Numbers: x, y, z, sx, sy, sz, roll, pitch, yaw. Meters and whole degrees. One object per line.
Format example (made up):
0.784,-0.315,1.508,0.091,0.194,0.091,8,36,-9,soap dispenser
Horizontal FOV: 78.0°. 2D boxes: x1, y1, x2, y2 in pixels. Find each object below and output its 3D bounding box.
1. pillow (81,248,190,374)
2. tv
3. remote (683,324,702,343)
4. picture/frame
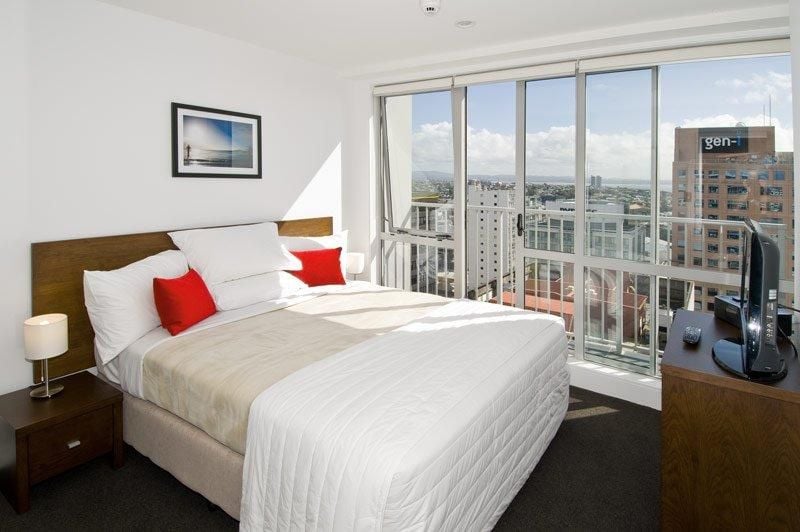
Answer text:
-2.011,0.378,3.722,0.377,0.513,0.823,15,19,17,pillow
2.011,0.178,2.799,0.360,0.842,0.494,6,11,33,tv
1.797,0.431,3.056,0.082,0.050,0.154,3,10,36,remote
-1.717,-1.150,4.522,0.035,0.607,0.855,2,2,41,picture/frame
